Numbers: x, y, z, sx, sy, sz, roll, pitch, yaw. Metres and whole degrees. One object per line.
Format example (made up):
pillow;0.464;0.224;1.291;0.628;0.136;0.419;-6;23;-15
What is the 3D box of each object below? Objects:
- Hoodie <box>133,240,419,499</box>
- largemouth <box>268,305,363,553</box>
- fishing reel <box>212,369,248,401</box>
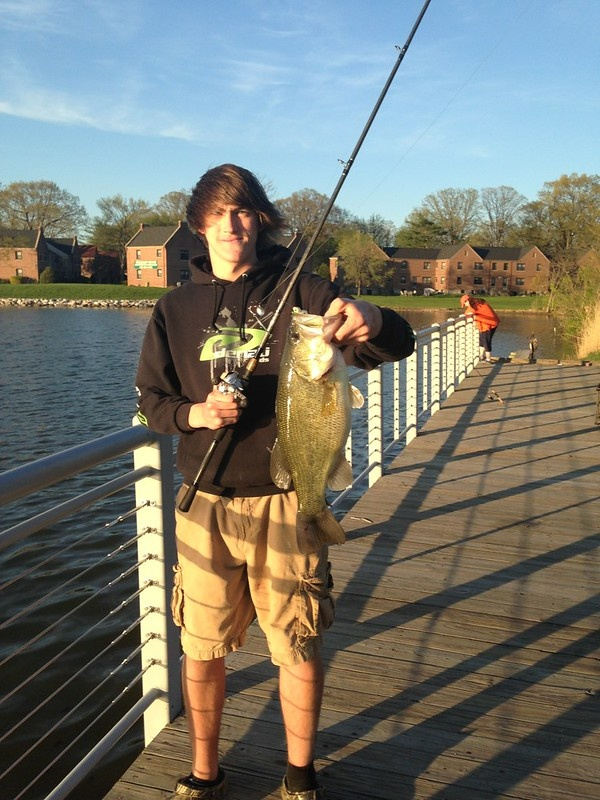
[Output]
Hoodie;-0.034;-0.062;2.092;0.229;0.659;0.742;18;-15;-42
largemouth;0.048;0.079;1.737;0.229;0.610;0.168;-3;11;-11
fishing reel;-0.179;-0.044;1.771;0.088;0.036;0.081;25;38;-4
